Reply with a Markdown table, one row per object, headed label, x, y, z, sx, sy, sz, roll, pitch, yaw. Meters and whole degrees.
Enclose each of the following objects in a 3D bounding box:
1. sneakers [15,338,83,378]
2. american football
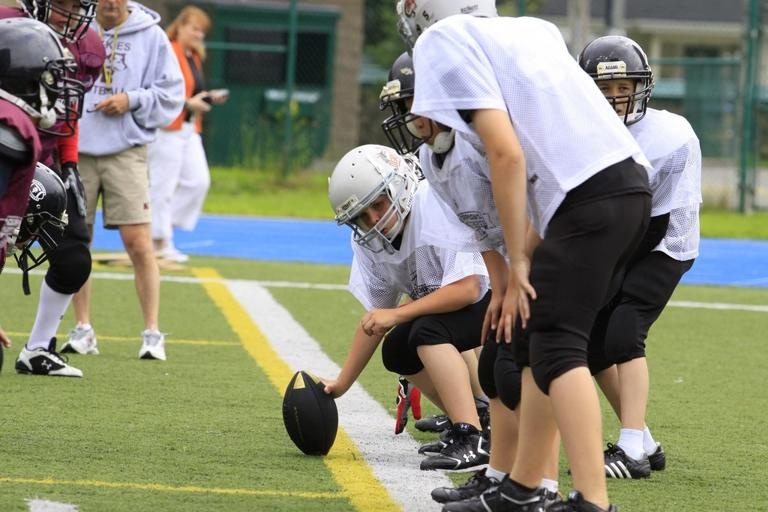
| label | x | y | z | sx | sy | sz | roll | pitch | yaw |
| --- | --- | --- | --- | --- | --- | --- | --- | --- | --- |
| sneakers | -1.836 | 0.556 | 5.304 | 0.413 | 0.175 | 0.190 | 7 | 11 | 25 |
| american football | -0.342 | 0.713 | 4.426 | 0.292 | 0.341 | 0.345 | 1 | -1 | -5 |
